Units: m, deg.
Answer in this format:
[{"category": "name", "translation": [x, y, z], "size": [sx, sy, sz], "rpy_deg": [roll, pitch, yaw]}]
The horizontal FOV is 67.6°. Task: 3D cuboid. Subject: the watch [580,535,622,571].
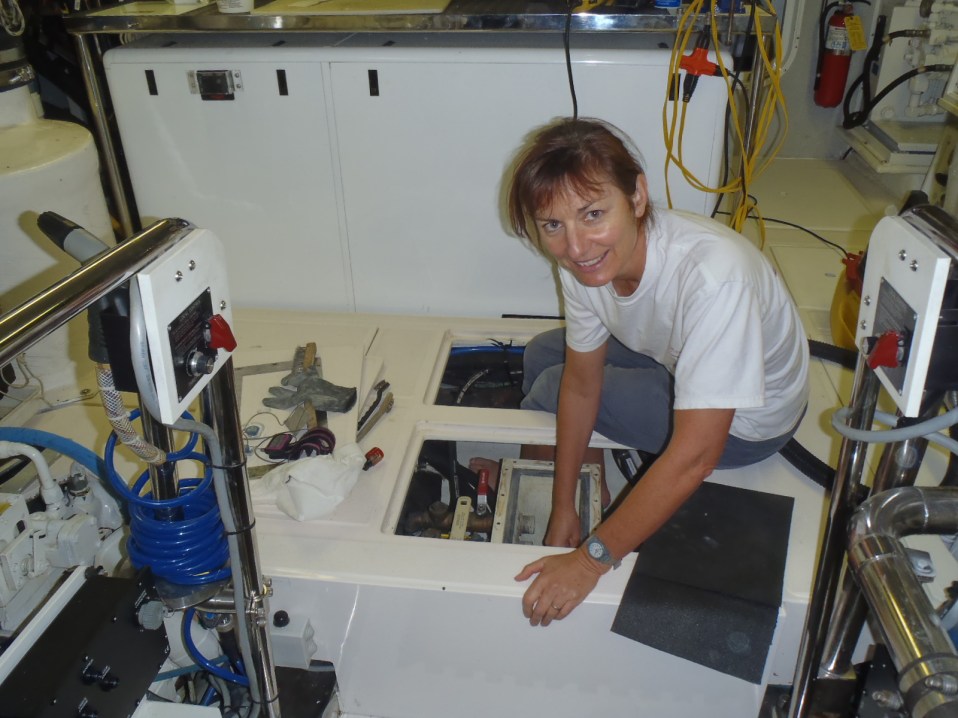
[{"category": "watch", "translation": [0.285, 0.424, 1.663], "size": [0.089, 0.057, 0.091], "rpy_deg": [42, 8, 15]}]
